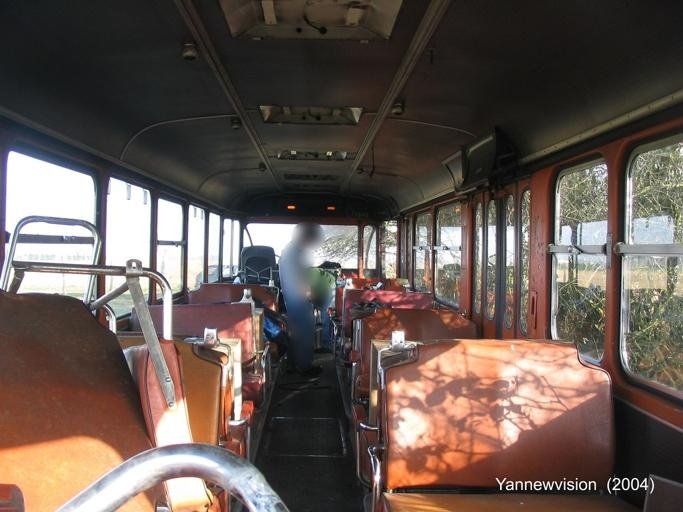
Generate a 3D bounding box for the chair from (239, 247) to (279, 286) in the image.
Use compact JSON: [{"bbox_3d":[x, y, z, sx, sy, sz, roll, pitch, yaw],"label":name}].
[{"bbox_3d":[-1.717,0.158,10.261,0.685,1.028,0.803,1,-9,0],"label":"chair"}]
